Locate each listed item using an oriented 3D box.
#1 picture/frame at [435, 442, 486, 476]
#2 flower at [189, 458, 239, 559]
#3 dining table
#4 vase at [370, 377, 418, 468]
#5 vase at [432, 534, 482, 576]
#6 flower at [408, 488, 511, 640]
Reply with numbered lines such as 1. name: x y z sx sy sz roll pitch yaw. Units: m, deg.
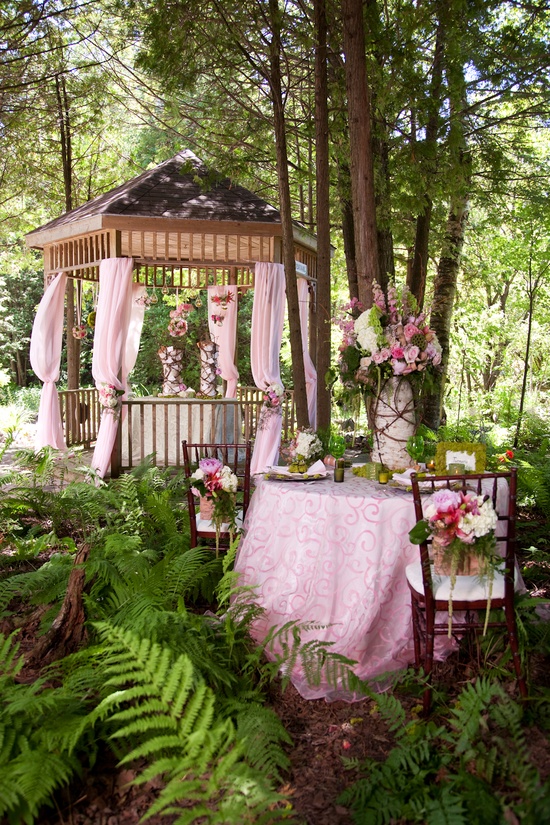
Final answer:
1. picture/frame: 0.812 0.198 2.625 0.156 0.157 0.061 3 -21 15
2. flower: -0.327 0.502 3.361 0.250 0.501 0.291 -2 -4 -23
3. dining table: 0.435 0.689 2.965 1.135 0.622 1.052 -2 5 -15
4. vase: 0.638 0.063 3.219 0.222 0.487 0.160 4 6 14
5. vase: 0.688 0.532 2.261 0.136 0.081 0.177 8 -13 44
6. flower: 0.716 0.586 2.302 0.364 0.552 0.390 0 0 12
